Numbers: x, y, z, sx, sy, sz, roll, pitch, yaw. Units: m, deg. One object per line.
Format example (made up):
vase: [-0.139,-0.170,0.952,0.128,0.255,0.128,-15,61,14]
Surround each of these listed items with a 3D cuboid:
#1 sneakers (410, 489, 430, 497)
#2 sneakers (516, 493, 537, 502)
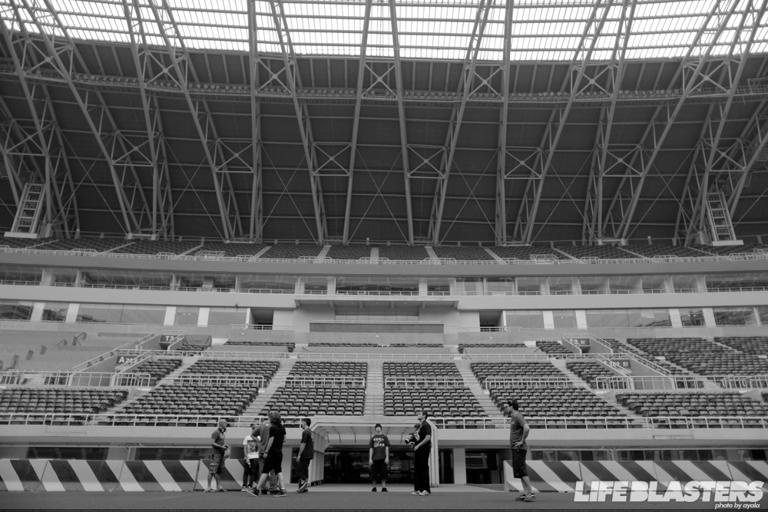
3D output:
sneakers: [1.376,8.929,24.739,0.654,0.240,0.202,3,-70,2]
sneakers: [5.097,8.638,23.524,0.706,0.258,0.226,4,-37,-6]
